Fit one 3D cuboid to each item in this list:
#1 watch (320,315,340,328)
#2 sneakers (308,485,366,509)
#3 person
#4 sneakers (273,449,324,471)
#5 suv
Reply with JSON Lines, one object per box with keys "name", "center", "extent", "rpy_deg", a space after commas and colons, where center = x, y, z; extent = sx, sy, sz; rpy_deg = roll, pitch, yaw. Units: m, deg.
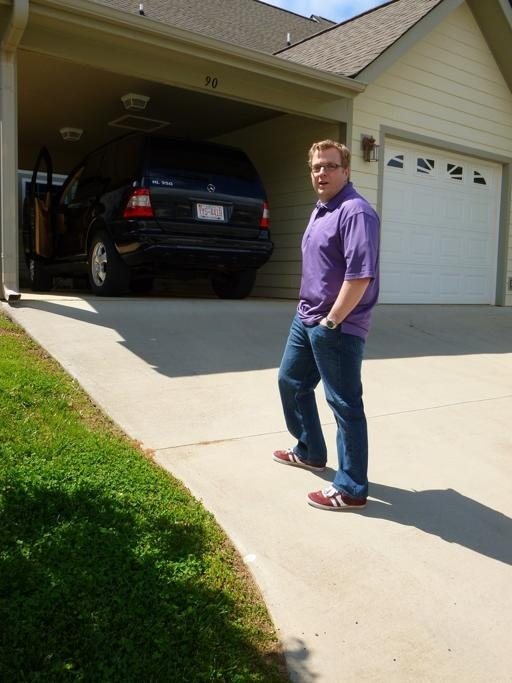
{"name": "watch", "center": [0.311, -0.092, 2.336], "extent": [0.048, 0.075, 0.073], "rpy_deg": [22, 4, 4]}
{"name": "sneakers", "center": [0.343, 0.676, 2.412], "extent": [0.263, 0.105, 0.097], "rpy_deg": [4, 0, -2]}
{"name": "person", "center": [0.371, -0.094, 2.506], "extent": [0.379, 1.592, 0.619], "rpy_deg": [5, 9, -19]}
{"name": "sneakers", "center": [0.211, 0.599, 2.869], "extent": [0.277, 0.104, 0.100], "rpy_deg": [14, -1, 11]}
{"name": "suv", "center": [-1.681, -1.786, 7.348], "extent": [2.268, 1.347, 3.102], "rpy_deg": [-4, 17, -34]}
